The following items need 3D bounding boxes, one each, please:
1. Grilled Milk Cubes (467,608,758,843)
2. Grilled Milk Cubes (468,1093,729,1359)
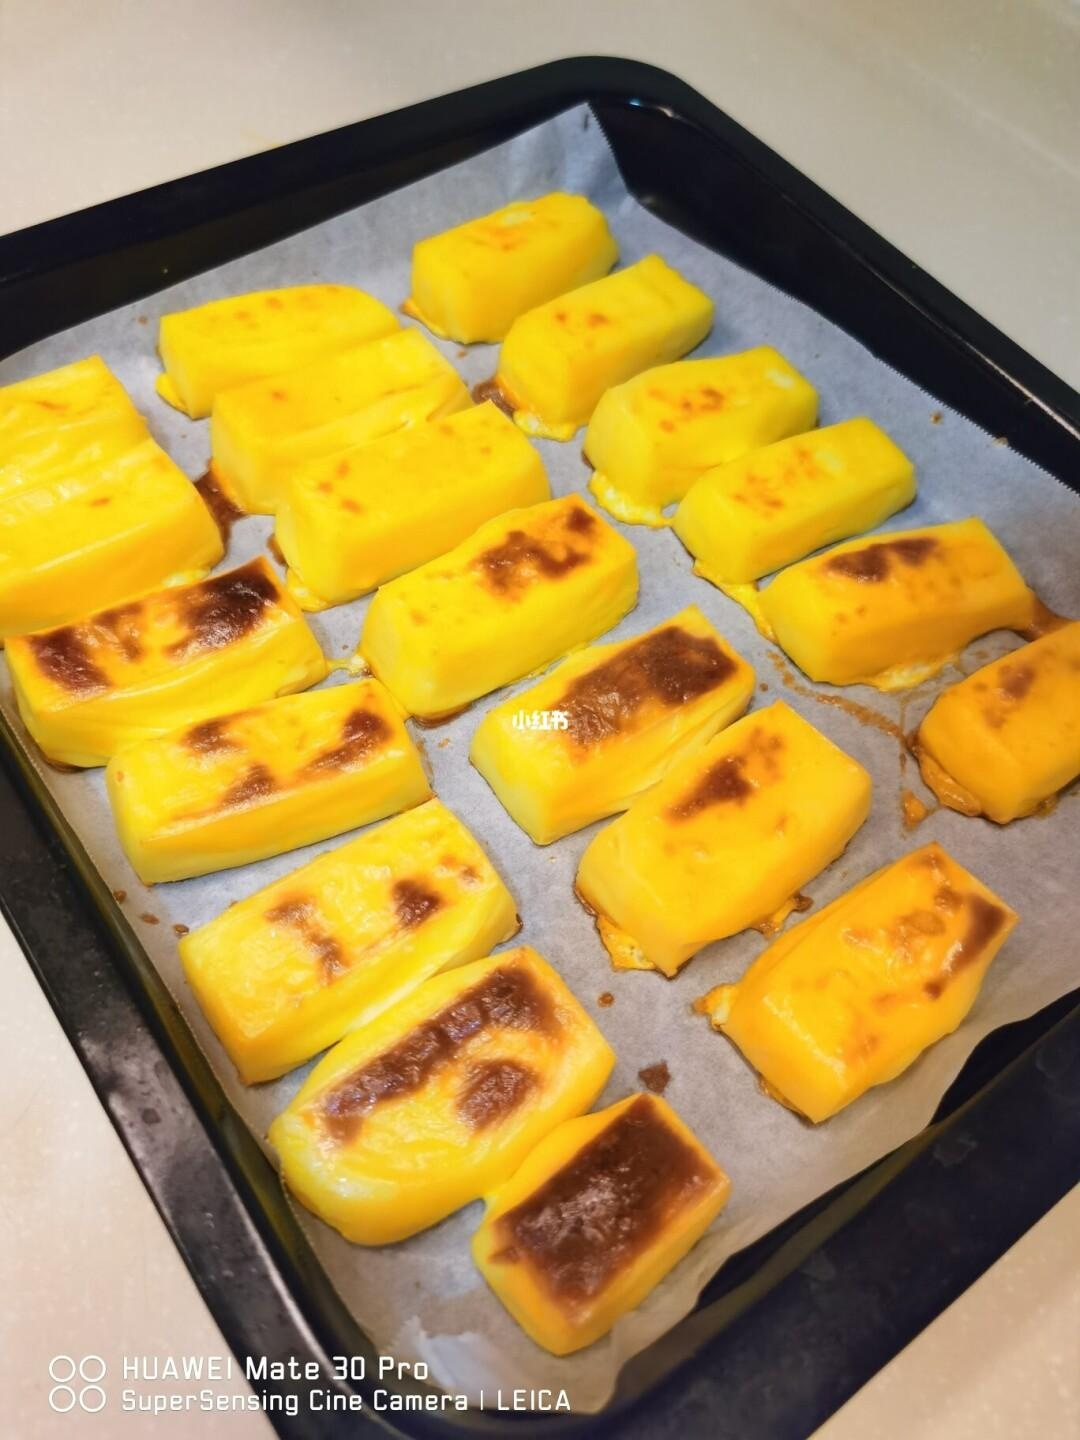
[{"bbox_3d":[0.077,0.020,1.429,0.300,0.085,0.170,-33,70,-17],"label":"Grilled Milk Cubes"},{"bbox_3d":[0.050,0.401,1.076,0.205,0.059,0.152,-35,75,-12],"label":"Grilled Milk Cubes"}]
